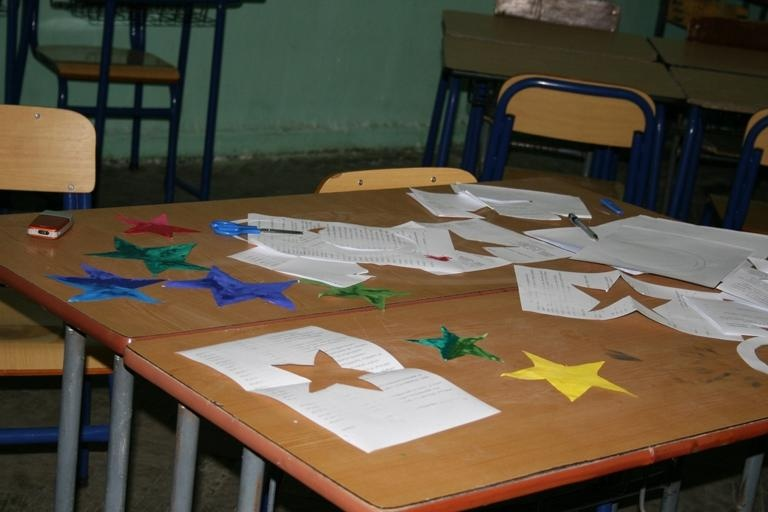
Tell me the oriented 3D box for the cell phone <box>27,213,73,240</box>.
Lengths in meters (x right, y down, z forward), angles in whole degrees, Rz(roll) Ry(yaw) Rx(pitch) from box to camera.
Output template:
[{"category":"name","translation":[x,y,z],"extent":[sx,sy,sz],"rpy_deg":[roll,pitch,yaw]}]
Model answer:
[{"category":"cell phone","translation":[-0.607,-0.058,1.139],"extent":[0.062,0.017,0.063],"rpy_deg":[7,22,10]}]
